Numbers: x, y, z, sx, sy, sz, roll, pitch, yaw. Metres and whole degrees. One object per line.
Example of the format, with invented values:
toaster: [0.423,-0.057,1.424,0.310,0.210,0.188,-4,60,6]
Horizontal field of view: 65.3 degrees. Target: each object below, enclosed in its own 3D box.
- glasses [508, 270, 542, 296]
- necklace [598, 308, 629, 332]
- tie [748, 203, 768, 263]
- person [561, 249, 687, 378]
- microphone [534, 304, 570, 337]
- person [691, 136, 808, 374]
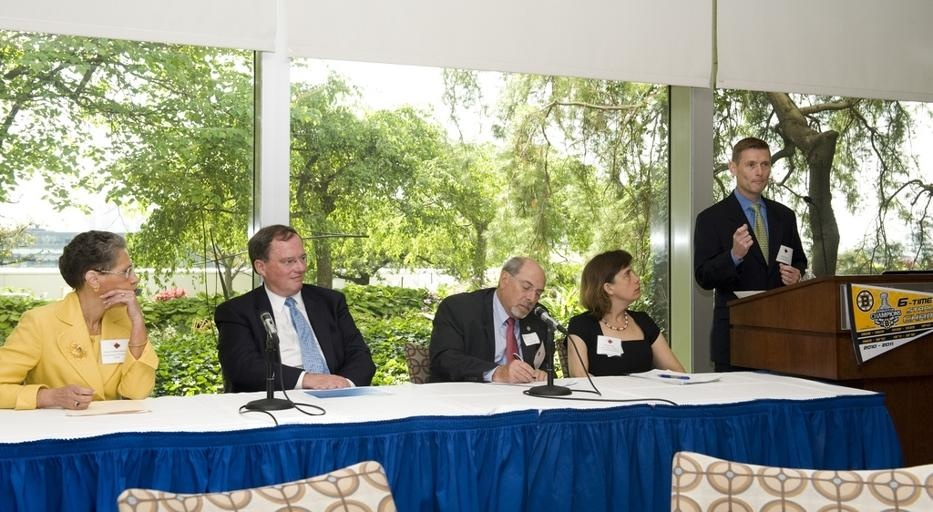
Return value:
glasses: [0.440,0.185,5.238,0.173,0.059,0.176,15,0,-23]
necklace: [1.100,0.490,5.431,0.173,0.139,0.025,9,-41,23]
tie: [2.325,-0.187,5.774,0.094,0.476,0.054,2,-10,1]
person: [1.111,0.557,5.404,0.819,1.147,0.831,-3,1,-15]
microphone: [0.488,0.405,4.790,0.122,0.121,0.471,7,6,-19]
person: [2.240,-0.026,5.727,0.860,1.913,0.453,-3,-1,-15]
